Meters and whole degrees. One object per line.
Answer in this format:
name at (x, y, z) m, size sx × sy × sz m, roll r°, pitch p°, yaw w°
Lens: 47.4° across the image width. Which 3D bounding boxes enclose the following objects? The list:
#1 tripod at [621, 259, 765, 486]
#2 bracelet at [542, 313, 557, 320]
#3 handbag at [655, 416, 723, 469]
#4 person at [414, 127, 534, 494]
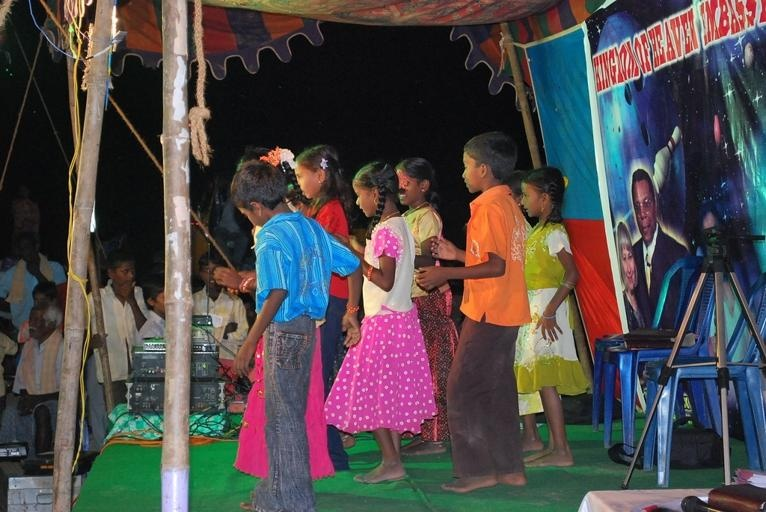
tripod at (2.274, 0.812, 6.265) m, size 1.050 × 1.571 × 1.094 m, roll 1°, pitch -15°, yaw -17°
bracelet at (1.346, 0.489, 7.013) m, size 0.119 × 0.046 × 0.050 m, roll 1°, pitch -15°, yaw -19°
handbag at (2.476, 1.496, 6.995) m, size 0.374 × 0.364 × 0.379 m, roll -3°, pitch -1°, yaw 5°
person at (0.751, 0.410, 6.500) m, size 0.736 × 2.581 × 0.739 m, roll -6°, pitch -14°, yaw 9°
